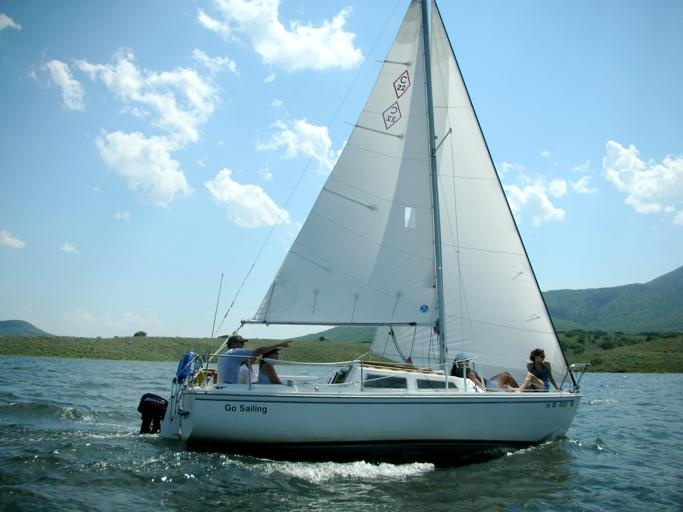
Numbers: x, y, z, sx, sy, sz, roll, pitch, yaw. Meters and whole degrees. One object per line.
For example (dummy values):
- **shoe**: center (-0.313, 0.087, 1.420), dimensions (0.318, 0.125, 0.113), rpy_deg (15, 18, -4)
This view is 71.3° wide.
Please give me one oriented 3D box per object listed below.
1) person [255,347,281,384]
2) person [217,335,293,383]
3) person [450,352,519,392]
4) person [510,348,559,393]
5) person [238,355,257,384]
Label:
- **person**: center (-1.694, 2.538, 11.187), dimensions (0.531, 0.785, 0.604), rpy_deg (2, -8, -10)
- **person**: center (-2.211, 2.502, 11.563), dimensions (1.511, 1.596, 0.899), rpy_deg (-2, 16, -23)
- **person**: center (3.869, 3.067, 12.595), dimensions (2.241, 1.066, 0.809), rpy_deg (3, -7, -18)
- **person**: center (4.922, 3.009, 12.614), dimensions (1.042, 1.348, 1.137), rpy_deg (17, -17, -39)
- **person**: center (-2.271, 2.655, 11.304), dimensions (0.425, 0.685, 0.887), rpy_deg (-1, -6, 0)
